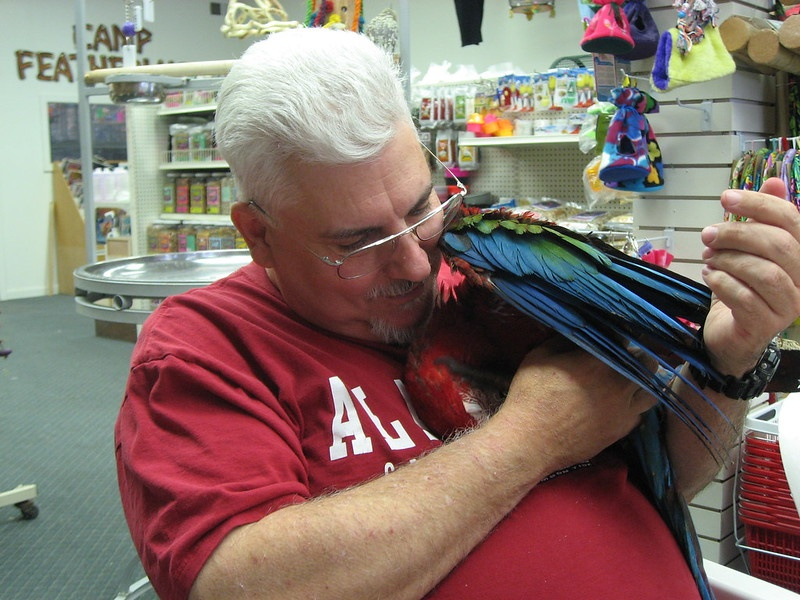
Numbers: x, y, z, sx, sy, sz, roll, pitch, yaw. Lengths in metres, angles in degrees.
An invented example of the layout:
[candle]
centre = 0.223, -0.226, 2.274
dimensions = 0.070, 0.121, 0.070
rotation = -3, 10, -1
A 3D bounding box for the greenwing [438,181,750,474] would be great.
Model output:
[greenwing]
centre = 0.289, 0.013, 1.057
dimensions = 0.461, 0.313, 0.238
rotation = 4, 16, 28

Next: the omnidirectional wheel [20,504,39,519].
[omnidirectional wheel]
centre = -1.573, 0.892, 2.718
dimensions = 0.065, 0.081, 0.047
rotation = -10, 15, -23

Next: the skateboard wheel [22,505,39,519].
[skateboard wheel]
centre = -1.563, 0.898, 2.713
dimensions = 0.054, 0.071, 0.067
rotation = -3, 0, -23
